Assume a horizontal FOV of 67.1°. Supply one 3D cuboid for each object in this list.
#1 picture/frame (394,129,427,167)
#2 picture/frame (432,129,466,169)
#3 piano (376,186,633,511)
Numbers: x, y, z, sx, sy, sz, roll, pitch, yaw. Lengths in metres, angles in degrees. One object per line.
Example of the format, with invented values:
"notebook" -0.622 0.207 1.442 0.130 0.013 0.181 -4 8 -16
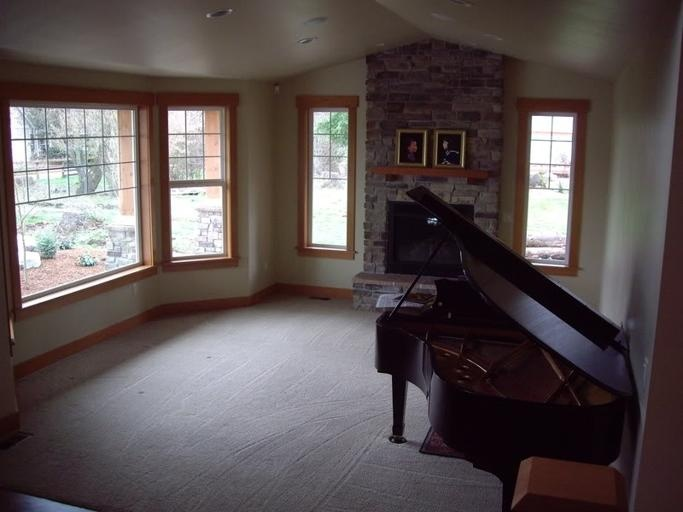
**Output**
"picture/frame" 0.965 -1.484 7.006 0.510 0.588 0.062 2 8 9
"picture/frame" 1.459 -1.438 6.869 0.524 0.637 0.069 2 5 13
"piano" 1.016 0.679 3.989 1.601 1.606 2.265 2 12 10
